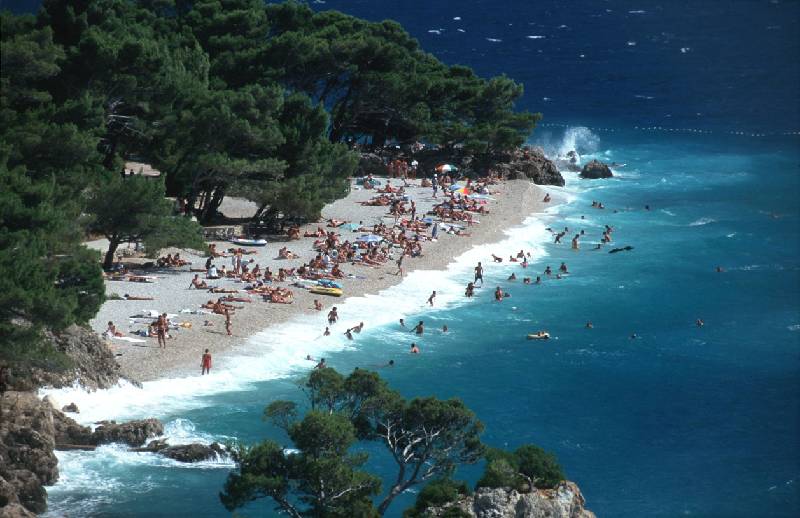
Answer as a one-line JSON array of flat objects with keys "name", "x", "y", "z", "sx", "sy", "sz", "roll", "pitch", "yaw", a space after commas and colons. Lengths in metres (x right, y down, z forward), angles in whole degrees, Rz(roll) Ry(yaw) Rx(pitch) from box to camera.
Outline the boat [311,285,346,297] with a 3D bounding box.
[{"name": "boat", "x": -4.883, "y": 2.159, "z": 78.935, "sx": 1.460, "sy": 0.271, "sz": 0.861, "roll": 6, "pitch": 23, "yaw": 0}]

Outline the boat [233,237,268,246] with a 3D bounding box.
[{"name": "boat", "x": -11.010, "y": -1.100, "z": 86.154, "sx": 2.599, "sy": 0.526, "sz": 0.870, "roll": 6, "pitch": 43, "yaw": 4}]
